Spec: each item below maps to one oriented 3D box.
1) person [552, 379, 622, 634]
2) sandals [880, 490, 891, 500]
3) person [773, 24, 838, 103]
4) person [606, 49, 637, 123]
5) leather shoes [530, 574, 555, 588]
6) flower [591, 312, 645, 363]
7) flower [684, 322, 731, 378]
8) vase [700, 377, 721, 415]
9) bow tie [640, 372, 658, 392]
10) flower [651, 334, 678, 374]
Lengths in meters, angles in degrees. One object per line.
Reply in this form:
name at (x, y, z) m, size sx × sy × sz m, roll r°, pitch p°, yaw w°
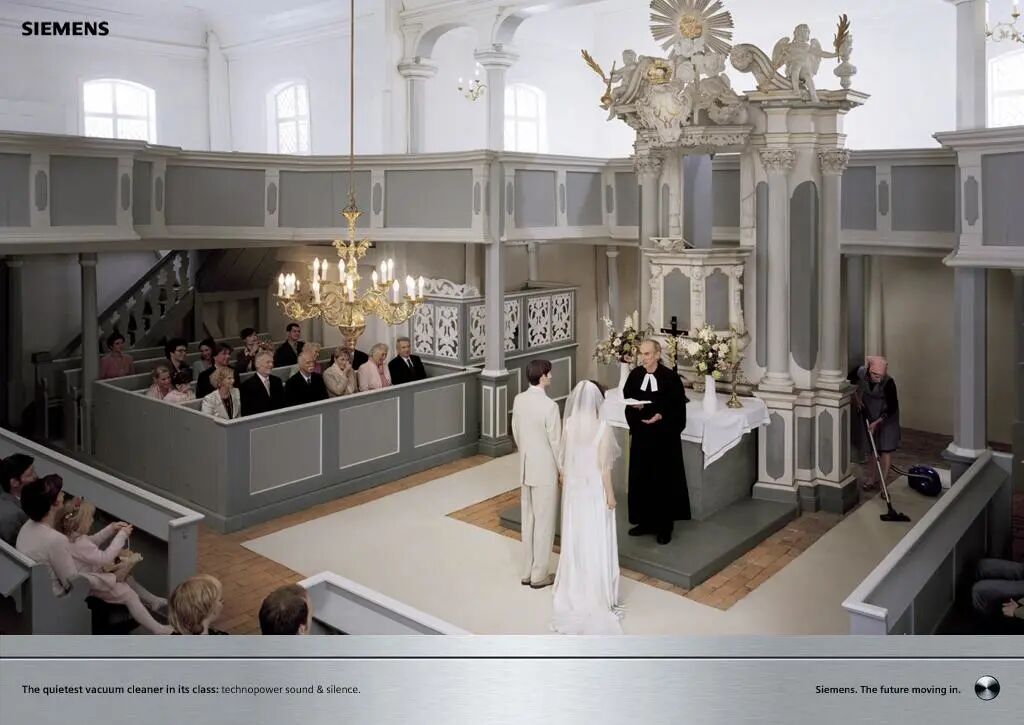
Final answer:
person at (0.655, 1.198, 6.353) m, size 0.548 × 2.016 × 0.595 m, roll 1°, pitch -10°, yaw 3°
sandals at (4.292, 1.532, 8.708) m, size 0.062 × 0.087 × 0.276 m, roll 21°, pitch -7°, yaw 13°
person at (3.149, -3.268, 8.146) m, size 0.701 × 0.298 × 0.848 m, roll 23°, pitch -17°, yaw 28°
person at (1.281, -3.258, 8.720) m, size 0.367 × 1.060 × 0.640 m, roll 0°, pitch -10°, yaw 8°
leather shoes at (0.294, 2.032, 6.997) m, size 0.088 × 0.111 × 0.250 m, roll 8°, pitch 14°, yaw 40°
flower at (1.441, -0.350, 10.146) m, size 0.782 × 0.866 × 0.710 m, roll -5°, pitch 6°, yaw -33°
flower at (2.183, -0.127, 8.328) m, size 0.510 × 0.604 × 0.658 m, roll -1°, pitch -11°, yaw 15°
vase at (2.154, 0.368, 8.217) m, size 0.151 × 0.449 × 0.362 m, roll 0°, pitch -10°, yaw 12°
bow tie at (1.361, 0.201, 7.446) m, size 0.173 × 0.190 × 0.013 m, roll 0°, pitch -14°, yaw 34°
flower at (1.813, -0.133, 8.887) m, size 0.345 × 0.493 × 0.240 m, roll 1°, pitch 6°, yaw 9°
